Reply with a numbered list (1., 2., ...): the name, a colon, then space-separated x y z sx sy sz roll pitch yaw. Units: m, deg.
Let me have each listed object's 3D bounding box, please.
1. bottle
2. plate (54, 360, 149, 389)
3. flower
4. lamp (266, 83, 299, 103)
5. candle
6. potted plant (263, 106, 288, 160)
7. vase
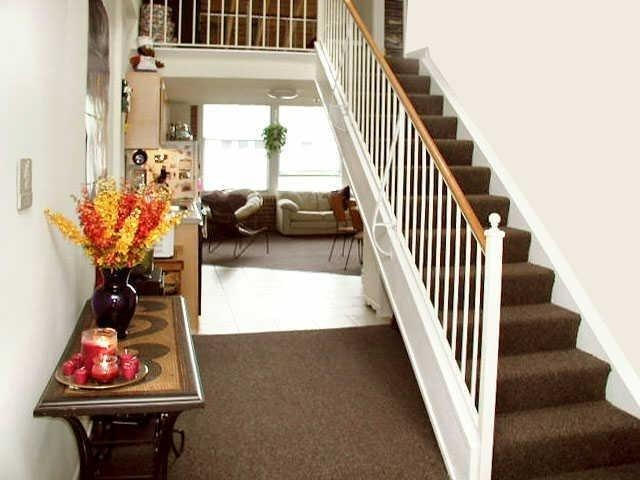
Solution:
1. bottle: -0.921 0.490 2.373 0.274 0.230 0.158 9 3 9
2. plate: -0.951 0.587 2.314 0.393 0.056 0.155 4 13 -11
3. flower: -1.028 -0.039 2.709 0.463 0.396 0.568 3 3 -31
4. lamp: -0.491 -2.007 7.332 0.416 0.146 1.449 6 13 -5
5. candle: -0.937 0.558 2.310 0.177 0.060 0.188 5 4 9
6. potted plant: -0.938 -2.229 11.101 0.505 1.038 0.653 4 12 -7
7. vase: -1.056 0.313 2.745 0.199 0.354 0.225 2 6 -6
